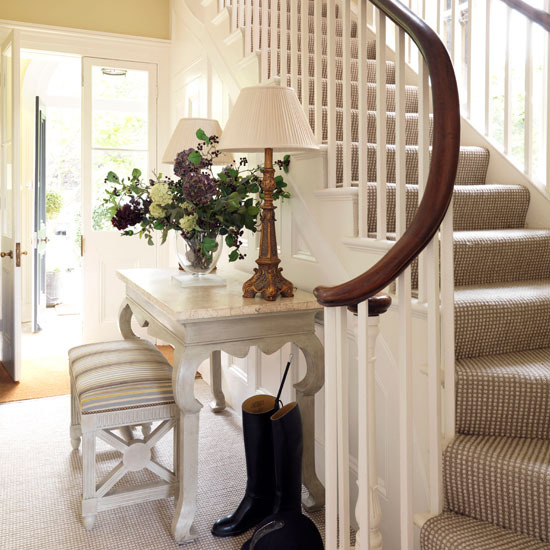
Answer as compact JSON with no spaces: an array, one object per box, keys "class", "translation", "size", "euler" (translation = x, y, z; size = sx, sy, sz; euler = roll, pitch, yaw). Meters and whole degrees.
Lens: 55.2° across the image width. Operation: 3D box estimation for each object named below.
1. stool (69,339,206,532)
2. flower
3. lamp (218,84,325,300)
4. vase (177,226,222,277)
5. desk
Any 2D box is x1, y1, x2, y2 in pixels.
[{"class":"stool","translation":[-0.652,0.798,2.357],"size":[0.484,0.711,0.886],"euler":[0,7,-21]},{"class":"flower","translation":[-0.332,-0.255,2.334],"size":[0.674,0.569,0.714],"euler":[5,-10,-40]},{"class":"lamp","translation":[-0.045,-0.310,1.969],"size":[0.339,0.805,0.360],"euler":[-6,9,-44]},{"class":"vase","translation":[-0.343,-0.113,2.398],"size":[0.161,0.164,0.197],"euler":[0,-2,-4]},{"class":"desk","translation":[-0.303,0.232,2.352],"size":[0.741,1.117,1.437],"euler":[0,2,-20]}]
